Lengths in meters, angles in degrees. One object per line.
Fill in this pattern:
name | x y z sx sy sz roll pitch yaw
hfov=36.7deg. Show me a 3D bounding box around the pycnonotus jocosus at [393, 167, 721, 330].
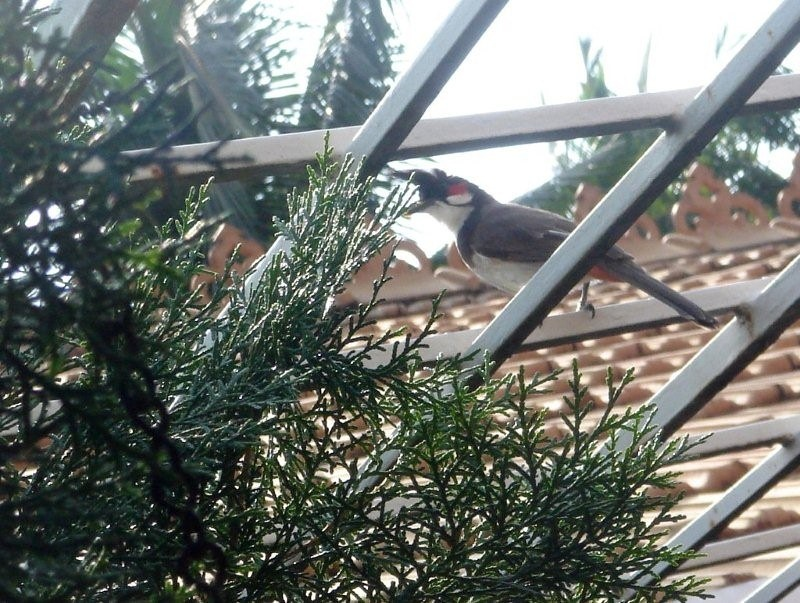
pycnonotus jocosus | 0.643 -0.235 5.003 1.291 0.658 0.403 1 -2 18
